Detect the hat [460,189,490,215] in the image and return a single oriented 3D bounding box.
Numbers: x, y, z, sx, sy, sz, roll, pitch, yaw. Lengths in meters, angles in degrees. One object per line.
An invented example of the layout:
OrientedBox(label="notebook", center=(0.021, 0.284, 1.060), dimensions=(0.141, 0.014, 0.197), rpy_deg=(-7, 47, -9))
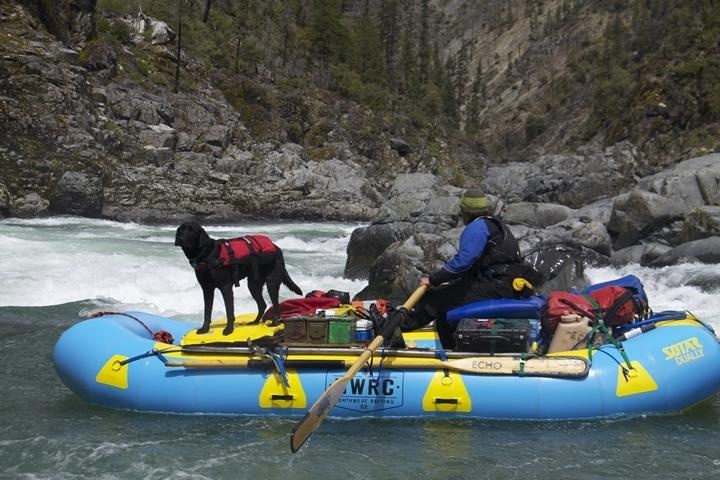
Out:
OrientedBox(label="hat", center=(4.260, -1.404, 31.221), dimensions=(0.935, 0.731, 0.938), rpy_deg=(0, 13, -6))
